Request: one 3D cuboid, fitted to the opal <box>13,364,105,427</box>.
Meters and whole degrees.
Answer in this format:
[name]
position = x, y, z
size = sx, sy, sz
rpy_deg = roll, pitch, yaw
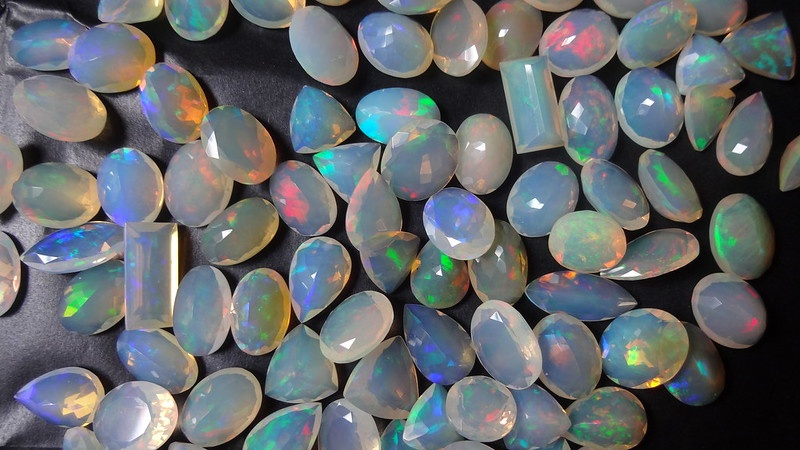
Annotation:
[opal]
position = -0.805, 0.409, 1.682
size = 0.181, 0.158, 0.096
rpy_deg = 14, -61, -35
